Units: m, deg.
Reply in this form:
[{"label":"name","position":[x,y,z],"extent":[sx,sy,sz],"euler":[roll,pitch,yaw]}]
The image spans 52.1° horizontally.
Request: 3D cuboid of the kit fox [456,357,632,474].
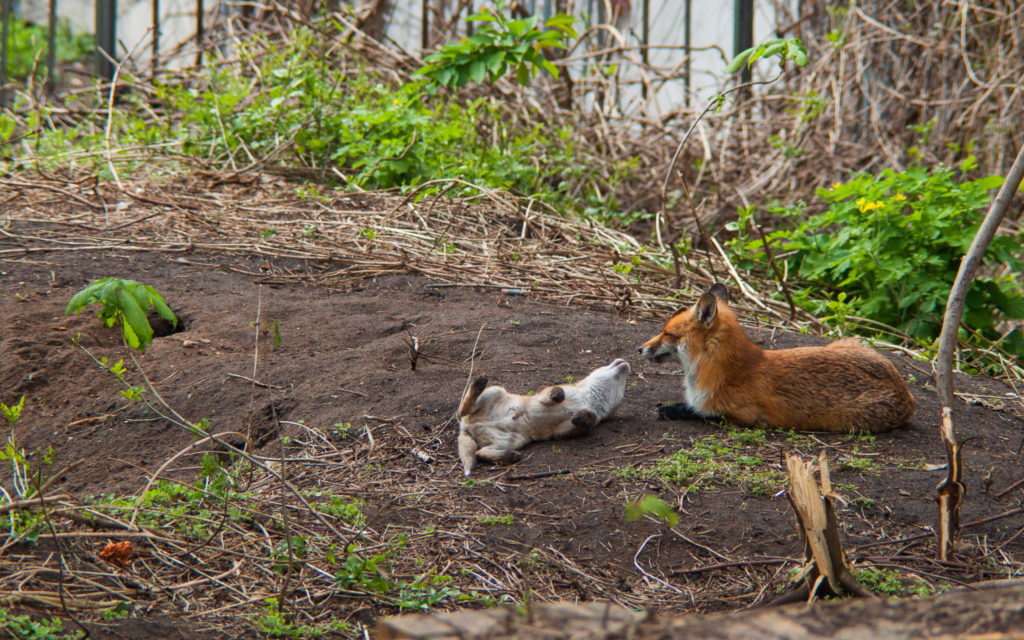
[{"label":"kit fox","position":[0.221,0.728,8.831],"extent":[1.402,0.514,0.710],"euler":[-20,12,9]}]
